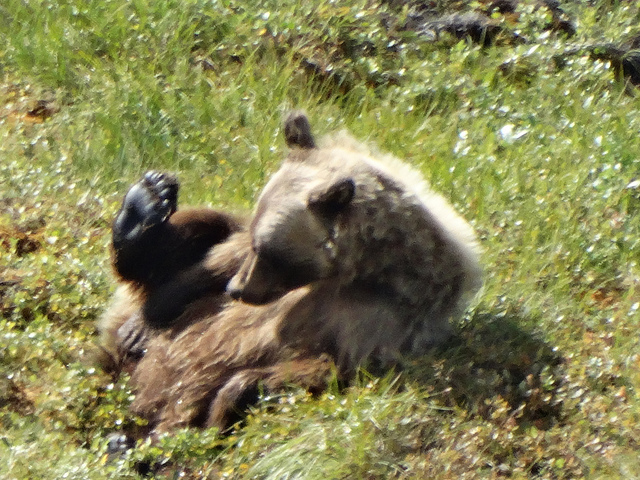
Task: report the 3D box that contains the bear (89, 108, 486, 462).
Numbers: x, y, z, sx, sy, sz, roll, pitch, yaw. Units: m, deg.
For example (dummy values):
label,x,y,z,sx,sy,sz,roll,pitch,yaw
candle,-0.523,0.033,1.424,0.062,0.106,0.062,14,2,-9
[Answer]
label,x,y,z,sx,sy,sz,roll,pitch,yaw
bear,-0.221,0.288,4.632,1.859,1.317,1.086,-1,49,-16
